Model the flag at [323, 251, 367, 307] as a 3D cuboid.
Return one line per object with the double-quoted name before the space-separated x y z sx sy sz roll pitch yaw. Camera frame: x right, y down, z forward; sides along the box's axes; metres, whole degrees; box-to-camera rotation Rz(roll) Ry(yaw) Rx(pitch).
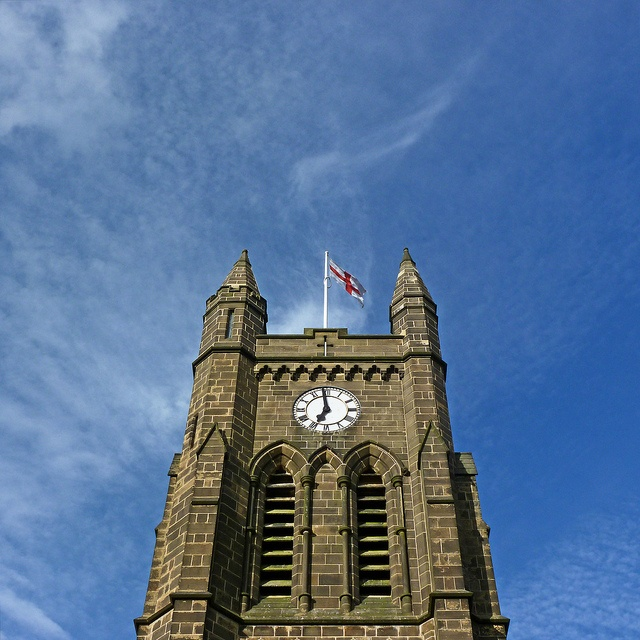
"flag" 1.359 -2.254 39.804 1.604 3.306 1.991 6 -40 -6
